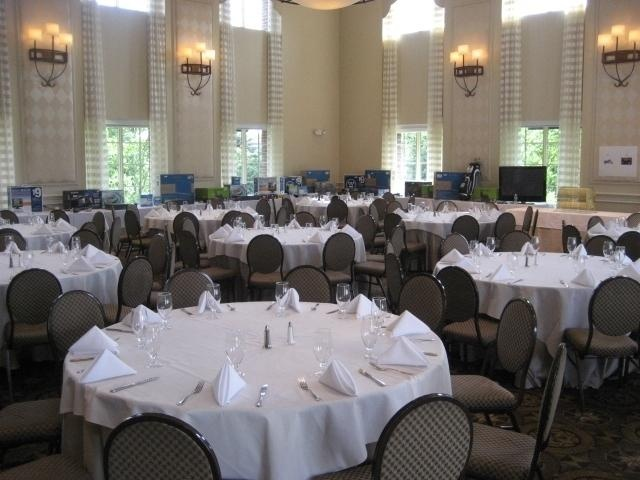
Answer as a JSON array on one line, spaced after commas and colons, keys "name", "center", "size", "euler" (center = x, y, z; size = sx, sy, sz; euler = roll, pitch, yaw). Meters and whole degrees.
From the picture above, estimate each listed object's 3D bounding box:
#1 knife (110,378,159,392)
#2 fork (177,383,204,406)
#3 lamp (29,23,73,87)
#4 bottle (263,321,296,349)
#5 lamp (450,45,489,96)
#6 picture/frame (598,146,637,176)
[{"name": "knife", "center": [-1.028, 0.795, 2.927], "size": [0.262, 0.024, 0.064], "euler": [-5, 8, -32]}, {"name": "fork", "center": [-0.694, 0.818, 2.830], "size": [0.034, 0.038, 0.227], "euler": [-9, 18, 20]}, {"name": "lamp", "center": [-5.364, -3.654, 10.495], "size": [0.789, 1.207, 0.210], "euler": [-5, 8, -35]}, {"name": "bottle", "center": [-0.261, 0.626, 3.528], "size": [0.270, 0.191, 0.099], "euler": [-8, 11, -38]}, {"name": "lamp", "center": [3.561, -4.024, 12.459], "size": [0.407, 1.322, 0.849], "euler": [-17, 20, -38]}, {"name": "picture/frame", "center": [5.947, -1.575, 10.483], "size": [0.506, 0.536, 0.053], "euler": [5, 7, 45]}]
